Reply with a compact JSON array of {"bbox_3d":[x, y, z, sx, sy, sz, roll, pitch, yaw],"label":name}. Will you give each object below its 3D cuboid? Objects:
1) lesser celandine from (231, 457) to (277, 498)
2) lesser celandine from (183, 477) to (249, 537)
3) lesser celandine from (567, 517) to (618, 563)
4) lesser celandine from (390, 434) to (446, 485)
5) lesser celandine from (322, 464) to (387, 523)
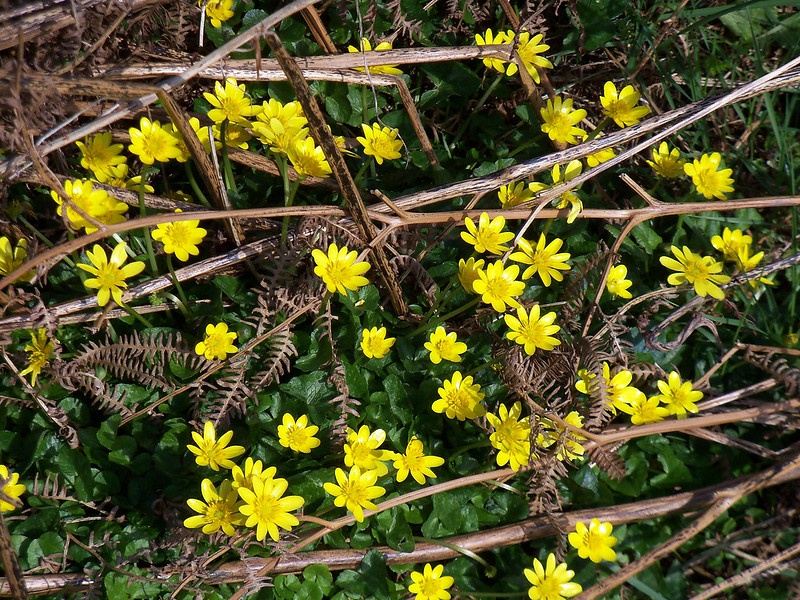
[{"bbox_3d":[-0.414,0.490,1.985,0.110,0.051,0.104,25,49,7],"label":"lesser celandine"},{"bbox_3d":[-0.500,0.571,1.953,0.154,0.154,0.055,2,99,-48],"label":"lesser celandine"},{"bbox_3d":[0.605,0.758,2.242,0.145,0.050,0.153,41,67,3],"label":"lesser celandine"},{"bbox_3d":[0.053,0.476,2.186,0.156,0.046,0.157,36,81,-14],"label":"lesser celandine"},{"bbox_3d":[-0.134,0.547,2.042,0.188,0.179,0.054,-11,95,4],"label":"lesser celandine"}]
